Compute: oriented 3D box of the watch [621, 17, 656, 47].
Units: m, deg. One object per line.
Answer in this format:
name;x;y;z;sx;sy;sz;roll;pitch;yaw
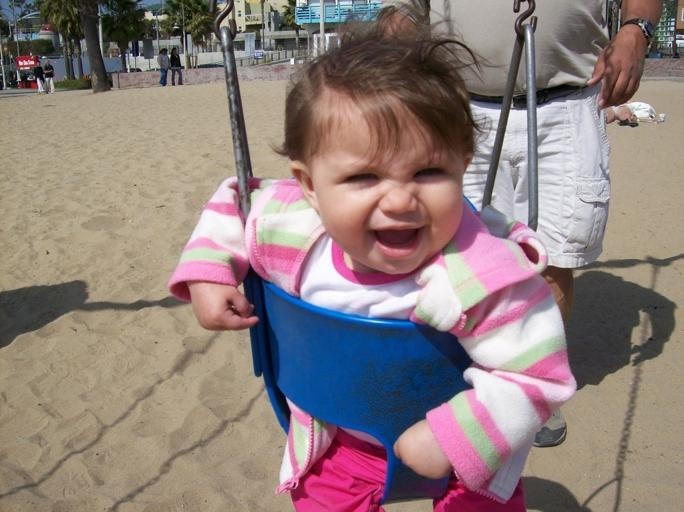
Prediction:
watch;0.990;-0.752;2.171;0.106;0.069;0.113;12;-20;41
